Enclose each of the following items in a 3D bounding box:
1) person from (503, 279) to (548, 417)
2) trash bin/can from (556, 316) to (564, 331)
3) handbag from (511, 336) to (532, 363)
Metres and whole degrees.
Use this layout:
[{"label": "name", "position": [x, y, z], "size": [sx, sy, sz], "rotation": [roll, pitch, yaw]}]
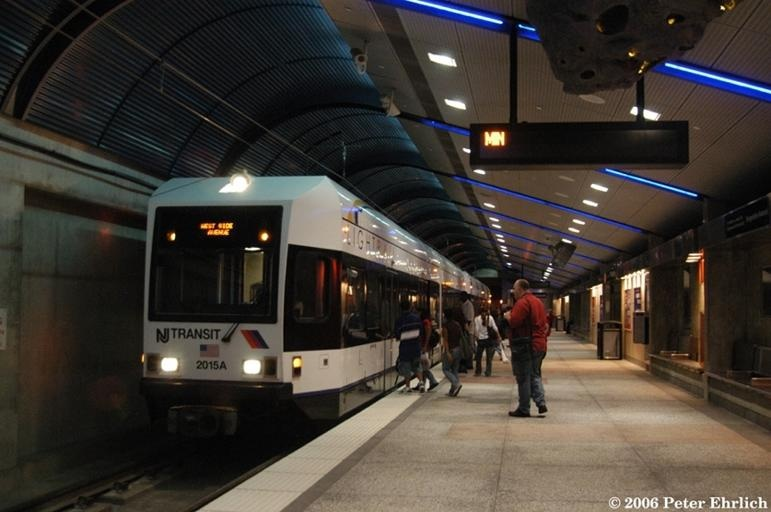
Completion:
[{"label": "person", "position": [2.796, 1.838, 10.721], "size": [0.807, 2.750, 1.016], "rotation": [-3, -8, 14]}, {"label": "trash bin/can", "position": [22.020, 8.681, 68.414], "size": [0.853, 1.787, 3.482], "rotation": [-5, -9, 22]}, {"label": "handbag", "position": [2.618, 1.830, 10.371], "size": [0.454, 0.570, 0.315], "rotation": [-3, 4, 6]}]
